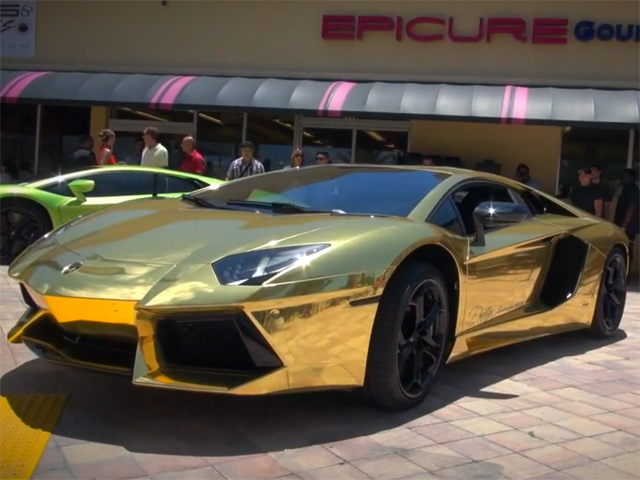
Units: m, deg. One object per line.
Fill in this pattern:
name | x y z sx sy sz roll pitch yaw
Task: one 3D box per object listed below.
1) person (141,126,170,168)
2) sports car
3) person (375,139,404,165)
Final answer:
person | -2.597 -1.445 9.493 0.351 0.578 0.746 0 8 -22
sports car | 0.411 0.286 3.947 1.828 0.924 3.254 2 1 42
person | 1.493 -1.883 12.933 0.548 0.499 0.704 3 8 4
